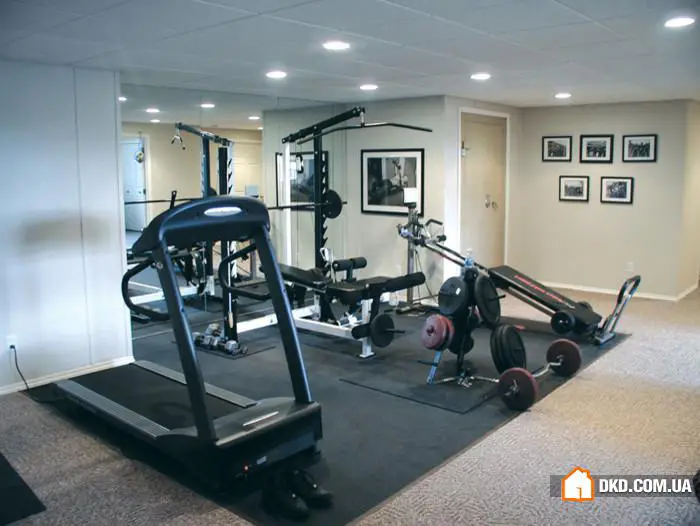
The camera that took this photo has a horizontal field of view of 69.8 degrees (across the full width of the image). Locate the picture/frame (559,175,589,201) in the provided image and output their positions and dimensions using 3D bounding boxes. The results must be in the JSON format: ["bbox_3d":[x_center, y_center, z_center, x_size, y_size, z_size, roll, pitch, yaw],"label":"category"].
[{"bbox_3d":[3.877,-1.279,8.609,0.031,0.415,0.439,-3,5,-43],"label":"picture/frame"}]

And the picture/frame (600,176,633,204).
[{"bbox_3d":[4.408,-1.196,8.221,0.430,0.376,0.035,7,11,41],"label":"picture/frame"}]

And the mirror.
[{"bbox_3d":[-1.221,-0.340,6.280,2.780,3.219,1.000,-5,12,-44],"label":"mirror"}]

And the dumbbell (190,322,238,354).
[{"bbox_3d":[-1.583,0.930,6.090,0.451,0.139,0.343,6,11,33],"label":"dumbbell"}]

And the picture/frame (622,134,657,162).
[{"bbox_3d":[4.650,-1.827,7.994,0.442,0.406,0.044,7,11,40],"label":"picture/frame"}]

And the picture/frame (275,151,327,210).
[{"bbox_3d":[-0.712,-1.241,7.629,0.219,0.852,0.824,11,13,42],"label":"picture/frame"}]

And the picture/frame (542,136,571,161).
[{"bbox_3d":[3.628,-1.977,8.725,0.443,0.425,0.018,5,9,39],"label":"picture/frame"}]
